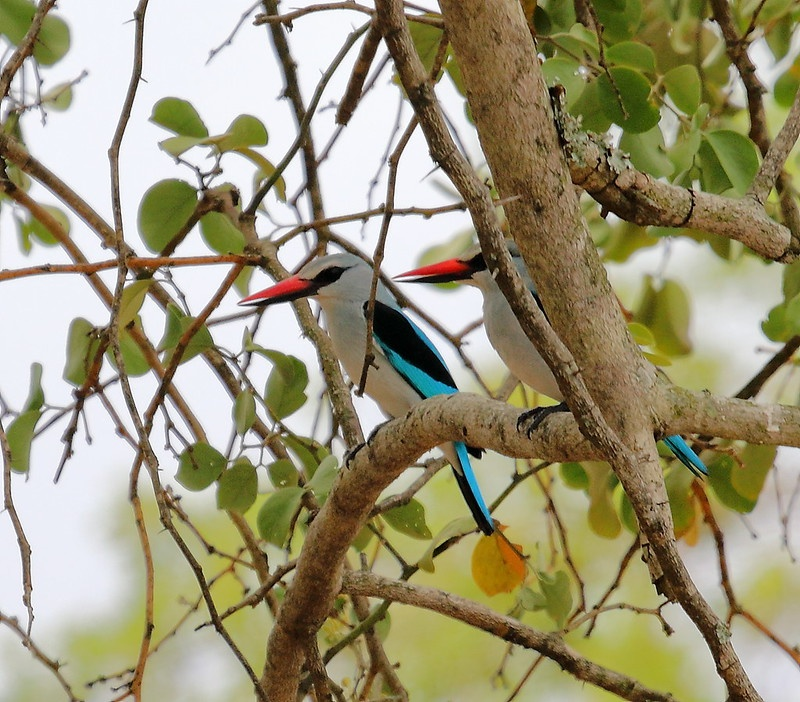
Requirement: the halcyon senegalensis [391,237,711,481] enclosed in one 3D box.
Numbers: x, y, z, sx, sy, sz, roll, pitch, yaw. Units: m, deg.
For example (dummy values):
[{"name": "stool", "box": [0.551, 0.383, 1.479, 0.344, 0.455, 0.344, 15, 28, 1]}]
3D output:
[{"name": "halcyon senegalensis", "box": [0.485, -0.053, 3.470, 0.817, 0.289, 0.563, -1, -95, -14]}]
